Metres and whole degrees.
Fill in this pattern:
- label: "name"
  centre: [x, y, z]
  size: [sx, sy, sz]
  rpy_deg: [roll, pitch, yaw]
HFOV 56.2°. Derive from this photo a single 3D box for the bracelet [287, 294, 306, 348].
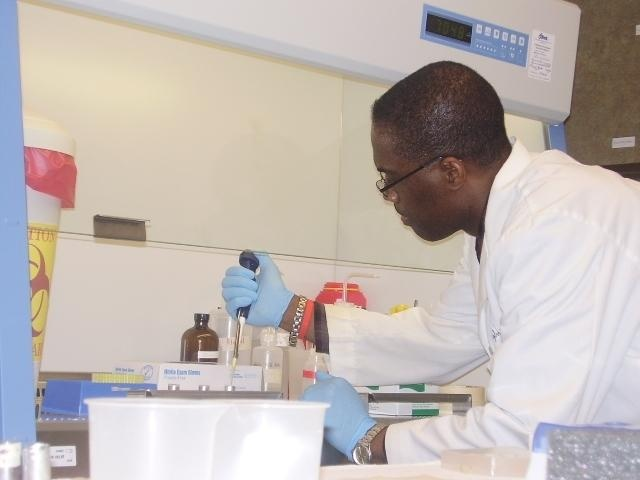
- label: "bracelet"
  centre: [-0.069, 0.250, 1.821]
  size: [0.027, 0.119, 0.098]
  rpy_deg: [17, -22, 2]
